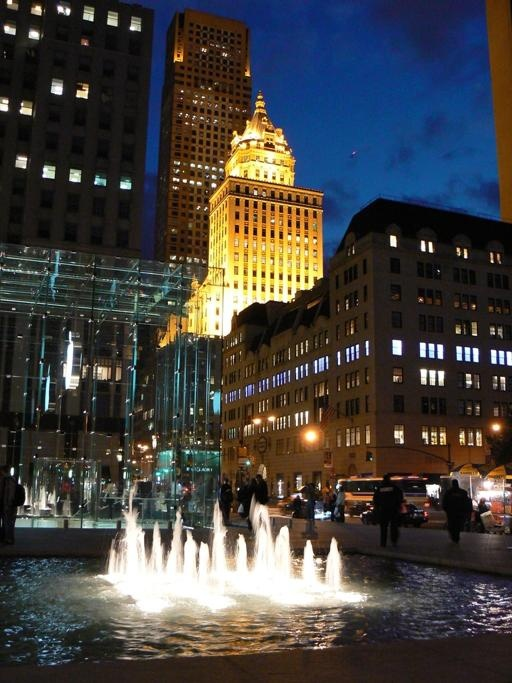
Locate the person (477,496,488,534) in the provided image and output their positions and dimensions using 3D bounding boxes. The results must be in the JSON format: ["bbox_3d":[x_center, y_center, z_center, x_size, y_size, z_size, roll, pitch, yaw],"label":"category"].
[{"bbox_3d":[9.692,7.456,30.040,0.436,1.378,1.033,-3,-13,8],"label":"person"}]

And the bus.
[{"bbox_3d":[8.344,10.250,46.561,2.430,2.674,8.614,6,-12,-21],"label":"bus"}]
